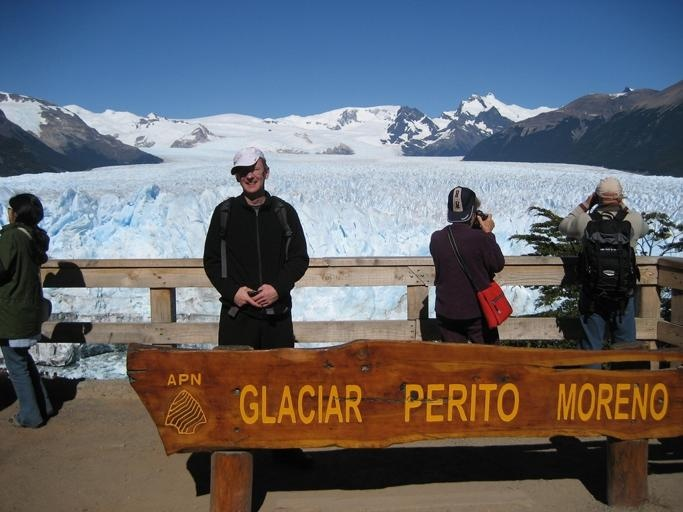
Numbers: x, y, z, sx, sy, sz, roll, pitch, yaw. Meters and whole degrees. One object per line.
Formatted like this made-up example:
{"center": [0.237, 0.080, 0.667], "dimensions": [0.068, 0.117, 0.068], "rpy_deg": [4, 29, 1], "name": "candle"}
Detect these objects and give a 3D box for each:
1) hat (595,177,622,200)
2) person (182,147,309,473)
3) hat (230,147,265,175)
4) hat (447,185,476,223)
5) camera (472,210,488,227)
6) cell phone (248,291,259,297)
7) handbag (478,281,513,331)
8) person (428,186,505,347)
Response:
{"center": [2.176, -0.554, 5.827], "dimensions": [0.159, 0.116, 0.224], "rpy_deg": [0, 18, 16], "name": "hat"}
{"center": [-0.641, -0.048, 5.201], "dimensions": [0.762, 1.472, 0.516], "rpy_deg": [-5, 13, -12], "name": "person"}
{"center": [-0.716, -0.695, 5.153], "dimensions": [0.187, 0.128, 0.248], "rpy_deg": [-13, -2, 31], "name": "hat"}
{"center": [0.922, -0.443, 5.592], "dimensions": [0.243, 0.184, 0.381], "rpy_deg": [0, 33, 27], "name": "hat"}
{"center": [1.083, -0.311, 5.671], "dimensions": [0.055, 0.134, 0.139], "rpy_deg": [9, 47, -4], "name": "camera"}
{"center": [-0.643, 0.268, 5.144], "dimensions": [0.074, 0.043, 0.065], "rpy_deg": [5, 14, 30], "name": "cell phone"}
{"center": [1.186, 0.402, 5.602], "dimensions": [0.138, 0.369, 0.344], "rpy_deg": [-21, 8, 47], "name": "handbag"}
{"center": [0.962, 0.092, 5.577], "dimensions": [0.566, 1.246, 0.436], "rpy_deg": [-1, 13, 6], "name": "person"}
